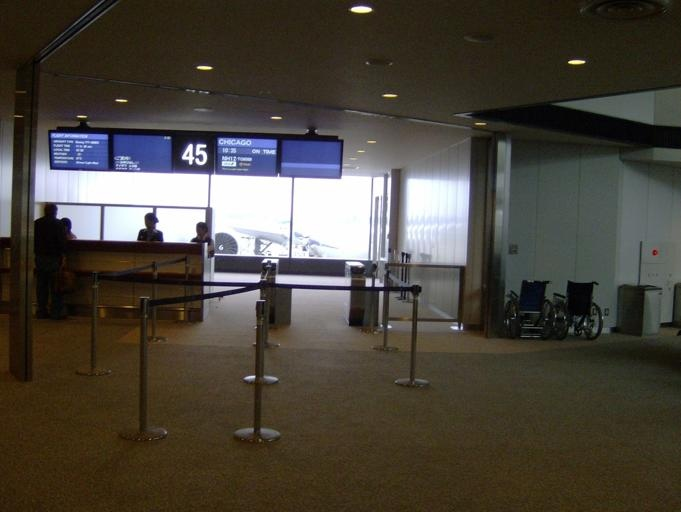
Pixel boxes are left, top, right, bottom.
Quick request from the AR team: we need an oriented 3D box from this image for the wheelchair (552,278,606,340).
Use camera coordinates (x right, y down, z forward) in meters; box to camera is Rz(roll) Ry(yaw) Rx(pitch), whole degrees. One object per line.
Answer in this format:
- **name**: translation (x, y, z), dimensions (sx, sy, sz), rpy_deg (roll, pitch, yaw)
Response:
- **wheelchair**: translation (4.009, 0.920, 9.859), dimensions (0.856, 1.017, 0.680), rpy_deg (3, 5, 6)

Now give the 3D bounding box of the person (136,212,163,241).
- **person**: translation (-3.543, -0.548, 10.671), dimensions (0.428, 0.501, 1.123), rpy_deg (1, 5, -20)

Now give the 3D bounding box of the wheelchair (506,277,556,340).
- **wheelchair**: translation (3.192, 0.866, 10.014), dimensions (0.698, 0.976, 1.049), rpy_deg (2, 11, -1)

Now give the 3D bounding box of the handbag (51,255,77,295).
- **handbag**: translation (-4.704, 0.338, 9.827), dimensions (0.340, 0.708, 0.646), rpy_deg (0, 5, -25)
